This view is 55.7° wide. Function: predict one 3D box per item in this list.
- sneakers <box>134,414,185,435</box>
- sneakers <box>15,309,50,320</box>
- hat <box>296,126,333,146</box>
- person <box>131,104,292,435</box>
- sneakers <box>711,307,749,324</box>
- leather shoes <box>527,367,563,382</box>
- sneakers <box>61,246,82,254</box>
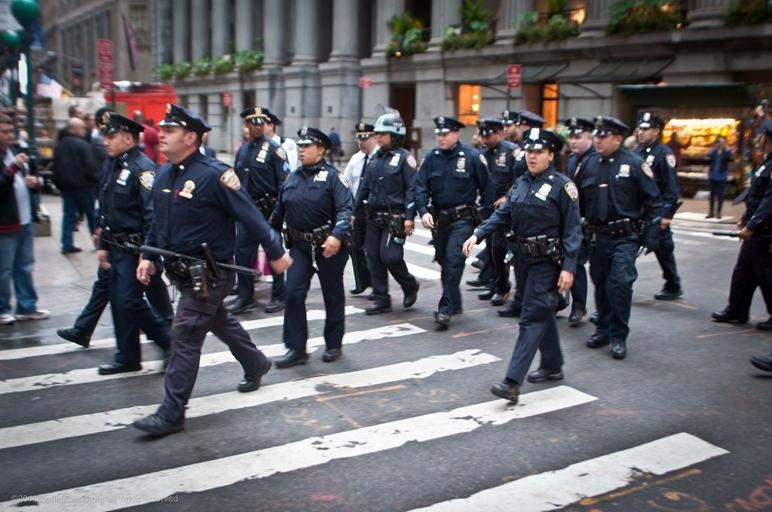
[{"bbox_3d":[-2.184,1.632,7.081,0.464,0.158,0.195,10,-2,-30],"label":"sneakers"},{"bbox_3d":[-4.826,0.813,10.068,0.444,0.149,0.151,-5,12,-16],"label":"sneakers"},{"bbox_3d":[-0.834,-1.443,8.696,0.339,0.128,0.294,2,-1,-44],"label":"hat"},{"bbox_3d":[-1.823,0.050,7.404,1.595,3.141,1.155,-8,16,-26],"label":"person"},{"bbox_3d":[4.752,0.817,10.146,0.554,0.227,0.184,4,10,19],"label":"sneakers"},{"bbox_3d":[1.791,1.351,8.294,0.416,0.143,0.153,1,-1,-9],"label":"leather shoes"},{"bbox_3d":[-5.927,-0.122,13.812,0.363,0.110,0.123,-2,10,-15],"label":"sneakers"}]
